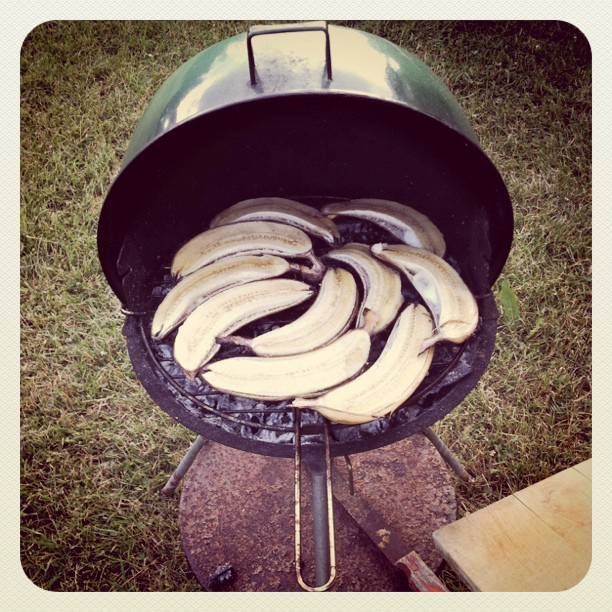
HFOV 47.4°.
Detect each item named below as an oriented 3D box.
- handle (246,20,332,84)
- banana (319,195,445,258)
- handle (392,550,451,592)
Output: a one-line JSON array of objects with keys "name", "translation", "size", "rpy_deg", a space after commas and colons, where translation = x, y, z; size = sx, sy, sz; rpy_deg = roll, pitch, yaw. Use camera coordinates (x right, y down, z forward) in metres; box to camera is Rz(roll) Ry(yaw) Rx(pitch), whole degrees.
[{"name": "handle", "translation": [-0.044, -0.694, 1.830], "size": [0.223, 0.172, 0.184], "rpy_deg": [-2, 79, 1]}, {"name": "banana", "translation": [0.283, -0.270, 2.197], "size": [0.393, 0.086, 0.198], "rpy_deg": [26, 59, 18]}, {"name": "handle", "translation": [0.349, 0.804, 2.090], "size": [0.093, 0.042, 0.166], "rpy_deg": [-34, 49, -17]}]
